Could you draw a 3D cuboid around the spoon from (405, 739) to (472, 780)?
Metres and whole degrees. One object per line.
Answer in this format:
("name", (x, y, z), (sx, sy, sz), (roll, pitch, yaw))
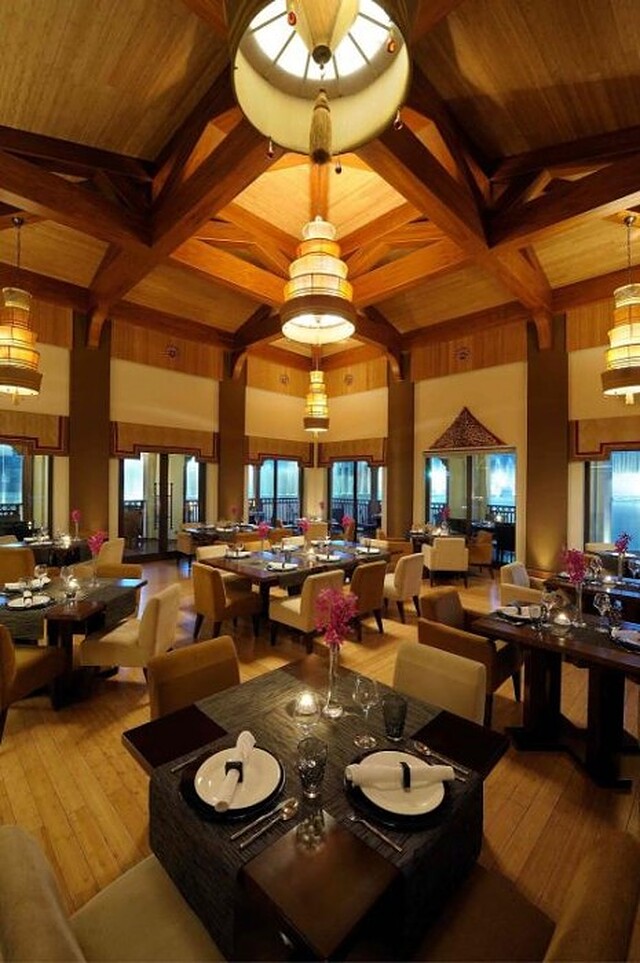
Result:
("spoon", (0.352, 0.828, 1.884), (0.215, 0.032, 0.059), (21, 4, 37))

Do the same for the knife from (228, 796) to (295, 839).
("knife", (-0.136, 0.885, 1.641), (0.053, 0.036, 0.216), (3, 5, 30))

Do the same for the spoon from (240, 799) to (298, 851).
("spoon", (-0.135, 0.869, 1.607), (0.048, 0.030, 0.201), (0, 6, 24))

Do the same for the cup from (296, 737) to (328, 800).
("cup", (-0.024, 0.782, 1.715), (0.109, 0.205, 0.121), (0, -7, -1))

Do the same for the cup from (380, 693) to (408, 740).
("cup", (0.235, 0.756, 2.016), (0.098, 0.133, 0.108), (1, -7, 0))

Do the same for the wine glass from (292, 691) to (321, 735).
("wine glass", (-0.046, 0.778, 2.116), (0.064, 0.126, 0.066), (-3, 7, -23))
